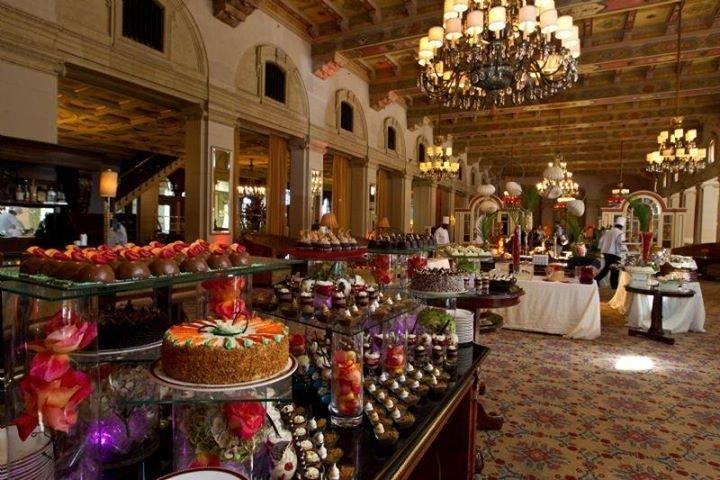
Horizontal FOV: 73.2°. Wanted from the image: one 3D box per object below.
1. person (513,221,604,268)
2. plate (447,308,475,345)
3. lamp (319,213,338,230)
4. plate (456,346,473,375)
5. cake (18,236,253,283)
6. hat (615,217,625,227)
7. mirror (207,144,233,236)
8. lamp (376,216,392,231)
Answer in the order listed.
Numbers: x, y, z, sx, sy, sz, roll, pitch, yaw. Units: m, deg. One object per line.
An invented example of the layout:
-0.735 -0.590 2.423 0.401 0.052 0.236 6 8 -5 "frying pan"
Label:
4.399 0.106 10.606 1.302 0.672 1.345 3 6 22 "person"
0.875 0.747 4.243 0.270 0.200 0.273 0 -3 -7 "plate"
-0.643 -0.376 10.077 0.465 0.486 0.475 1 0 1 "lamp"
0.825 0.951 3.828 0.134 0.221 0.138 -1 -2 7 "plate"
-1.335 0.112 2.914 1.303 0.141 0.475 -3 13 -16 "cake"
5.861 -0.418 10.974 0.254 0.201 0.222 6 -5 -44 "hat"
-2.348 -0.830 8.172 0.163 1.457 0.645 5 13 18 "mirror"
0.646 -0.438 12.614 0.372 0.380 0.374 0 -1 -18 "lamp"
